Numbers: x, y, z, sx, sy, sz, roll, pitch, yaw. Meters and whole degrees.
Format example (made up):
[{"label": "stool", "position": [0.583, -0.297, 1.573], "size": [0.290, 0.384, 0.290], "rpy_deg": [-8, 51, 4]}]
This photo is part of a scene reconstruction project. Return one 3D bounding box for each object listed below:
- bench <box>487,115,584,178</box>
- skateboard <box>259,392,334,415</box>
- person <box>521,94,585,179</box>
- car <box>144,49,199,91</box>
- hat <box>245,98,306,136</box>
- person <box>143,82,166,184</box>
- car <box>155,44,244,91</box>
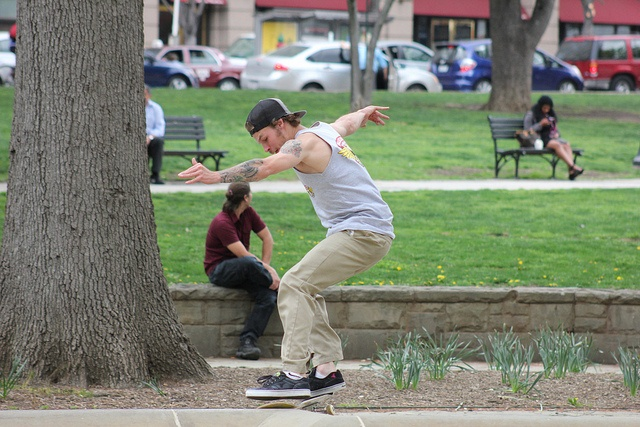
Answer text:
[{"label": "bench", "position": [2.909, -0.942, 21.261], "size": [1.199, 0.686, 0.531], "rpy_deg": [-4, 19, -27]}, {"label": "skateboard", "position": [-0.303, 2.163, 17.615], "size": [0.282, 0.101, 0.991], "rpy_deg": [-23, -20, 40]}, {"label": "person", "position": [3.195, -1.049, 21.065], "size": [0.814, 1.119, 0.192], "rpy_deg": [1, 6, 3]}, {"label": "car", "position": [-3.561, -3.274, 35.265], "size": [1.579, 0.727, 0.792], "rpy_deg": [-2, 10, -12]}, {"label": "hat", "position": [-0.514, -1.139, 17.706], "size": [0.628, 0.316, 0.372], "rpy_deg": [-26, 2, -9]}, {"label": "person", "position": [-2.738, -1.289, 25.258], "size": [0.289, 1.576, 0.698], "rpy_deg": [0, 6, -6]}, {"label": "car", "position": [-2.884, -3.436, 36.290], "size": [2.045, 0.669, 0.947], "rpy_deg": [-1, 9, -9]}]
